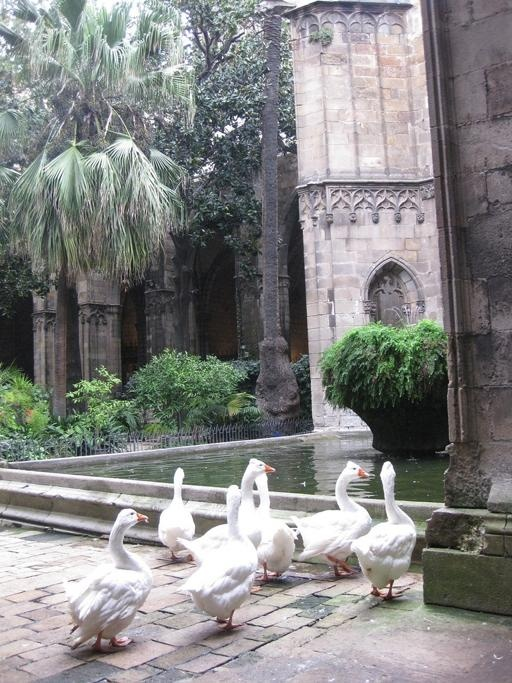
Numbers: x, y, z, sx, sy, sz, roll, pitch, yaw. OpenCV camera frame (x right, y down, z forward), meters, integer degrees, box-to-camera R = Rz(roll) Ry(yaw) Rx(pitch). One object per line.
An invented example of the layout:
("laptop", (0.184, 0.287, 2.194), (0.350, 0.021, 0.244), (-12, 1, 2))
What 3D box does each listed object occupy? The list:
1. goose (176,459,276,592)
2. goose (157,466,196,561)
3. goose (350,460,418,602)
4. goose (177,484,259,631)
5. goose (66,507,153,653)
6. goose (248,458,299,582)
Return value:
("goose", (-0.154, 1.165, 4.531), (0.804, 0.707, 0.307), (-24, -27, 10))
("goose", (-0.601, 1.286, 5.242), (0.278, 0.569, 0.679), (-3, -1, -1))
("goose", (0.750, 1.090, 4.082), (0.304, 0.694, 0.771), (-5, -5, 35))
("goose", (-0.206, 1.133, 3.645), (0.323, 0.634, 0.703), (-8, -3, 29))
("goose", (-0.748, 1.200, 3.505), (0.341, 0.668, 0.506), (-5, -3, 28))
("goose", (0.093, 1.214, 4.704), (0.312, 0.706, 0.772), (-6, -8, -11))
